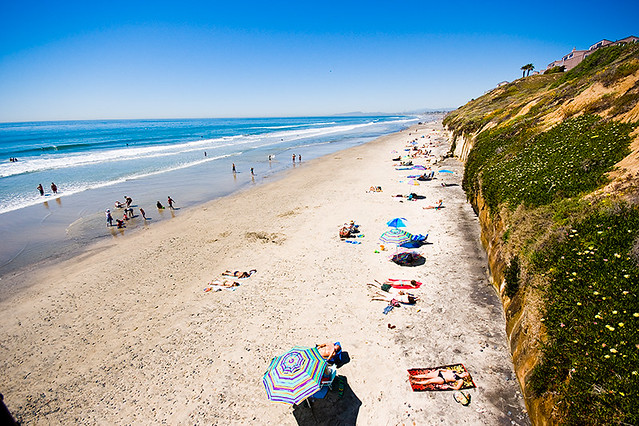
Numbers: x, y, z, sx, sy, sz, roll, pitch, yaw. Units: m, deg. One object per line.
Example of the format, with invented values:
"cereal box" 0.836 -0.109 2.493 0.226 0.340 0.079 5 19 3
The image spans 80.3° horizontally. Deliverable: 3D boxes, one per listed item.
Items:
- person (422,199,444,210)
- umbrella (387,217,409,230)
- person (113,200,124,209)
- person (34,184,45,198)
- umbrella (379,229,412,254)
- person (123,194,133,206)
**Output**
"person" 11.216 -0.812 36.924 1.391 0.446 1.245 -6 11 -26
"umbrella" 6.393 1.005 30.994 1.299 0.792 1.079 -13 37 -1
"person" -23.339 -0.959 43.964 1.204 0.565 0.768 -6 26 -30
"person" -37.662 -2.982 50.719 0.810 0.792 2.441 -20 12 -32
"umbrella" 6.131 2.093 30.856 1.973 1.671 1.638 -2 38 1
"person" -22.991 -1.695 44.847 0.924 0.980 2.554 -4 28 -16
